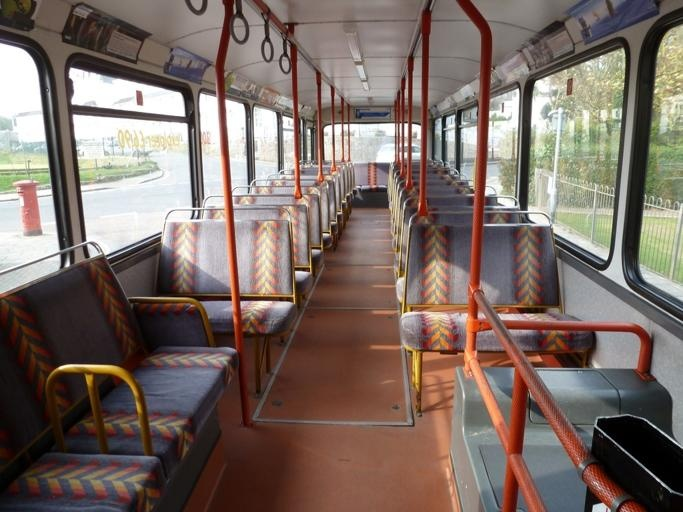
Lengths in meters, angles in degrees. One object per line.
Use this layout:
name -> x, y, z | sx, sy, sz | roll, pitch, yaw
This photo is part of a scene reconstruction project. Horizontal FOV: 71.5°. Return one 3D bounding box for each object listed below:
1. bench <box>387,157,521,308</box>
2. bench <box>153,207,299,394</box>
bench -> 1.199, -0.124, 5.562 | 1.507, 1.664, 1.230 | -1, 20, -2
bench -> -0.836, 0.358, 4.463 | 1.436, 1.958, 1.355 | 0, 2, -3
